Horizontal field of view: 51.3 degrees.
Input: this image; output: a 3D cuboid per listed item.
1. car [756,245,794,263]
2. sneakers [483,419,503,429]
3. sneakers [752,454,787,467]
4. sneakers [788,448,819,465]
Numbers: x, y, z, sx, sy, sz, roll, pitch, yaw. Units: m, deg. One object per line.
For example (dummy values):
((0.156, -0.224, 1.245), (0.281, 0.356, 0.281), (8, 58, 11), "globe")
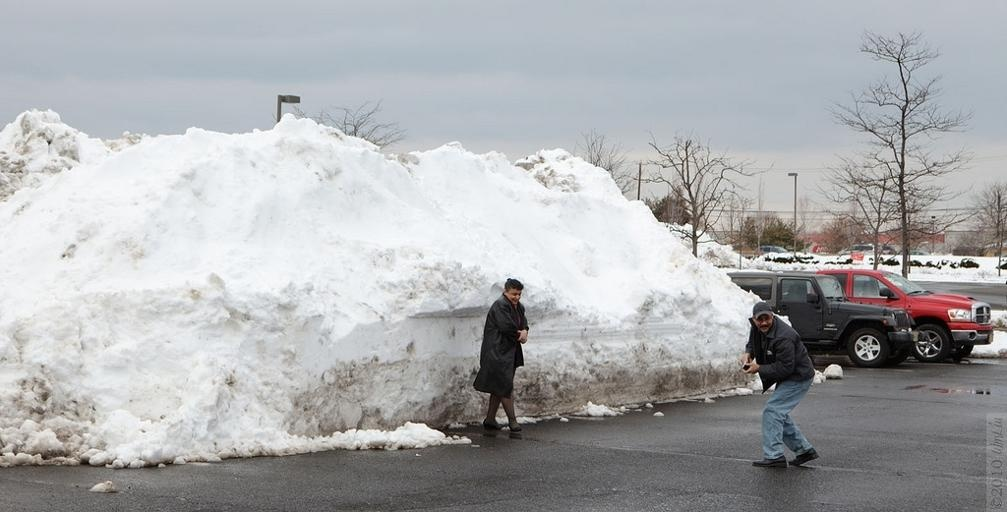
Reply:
((19.093, 0.024, 73.927), (2.575, 1.018, 1.356), (-2, 9, 8), "car")
((-0.140, 3.318, 20.691), (0.475, 0.161, 0.155), (2, 12, -13), "sneakers")
((4.807, 3.688, 18.883), (0.668, 0.245, 0.205), (3, -1, 7), "sneakers")
((5.480, 3.607, 18.916), (0.629, 0.248, 0.231), (-2, -3, -21), "sneakers")
